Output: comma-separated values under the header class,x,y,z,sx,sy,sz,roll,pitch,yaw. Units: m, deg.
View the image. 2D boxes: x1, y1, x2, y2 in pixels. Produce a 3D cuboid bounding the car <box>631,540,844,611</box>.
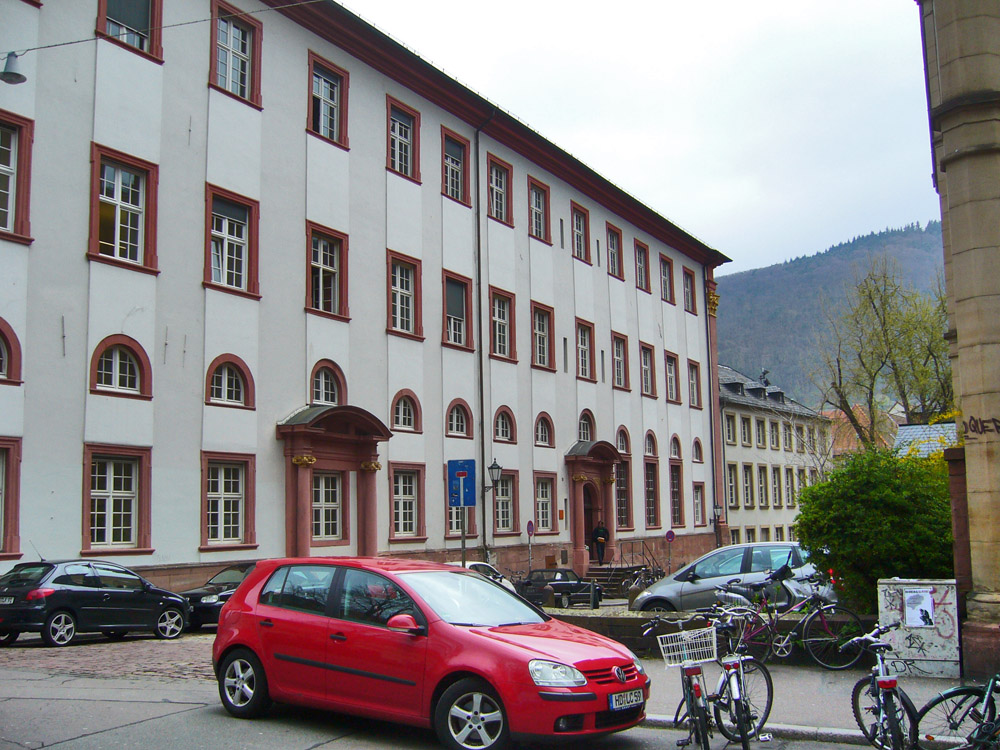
class,x,y,z,sx,sy,sz,roll,pitch,yaw
car,4.335,3.627,19.182,2.889,1.411,1.778,-2,-15,14
